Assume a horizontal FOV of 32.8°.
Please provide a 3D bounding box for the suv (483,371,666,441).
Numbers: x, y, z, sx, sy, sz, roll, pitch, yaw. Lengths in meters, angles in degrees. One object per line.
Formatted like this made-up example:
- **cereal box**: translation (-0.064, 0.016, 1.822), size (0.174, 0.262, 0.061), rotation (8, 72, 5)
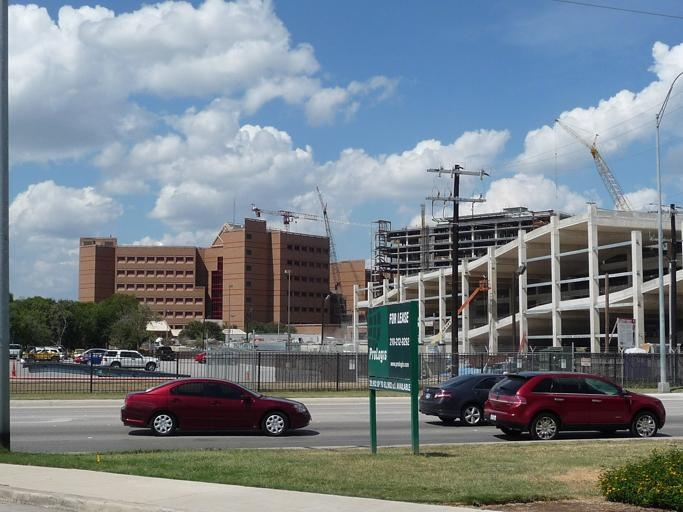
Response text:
- **suv**: translation (7.815, 5.093, 38.289), size (5.725, 2.253, 2.355), rotation (0, -4, -8)

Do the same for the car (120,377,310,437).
- **car**: translation (-4.485, 5.039, 40.545), size (5.755, 1.748, 2.433), rotation (-1, -5, -3)

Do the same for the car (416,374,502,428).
- **car**: translation (5.847, 5.500, 44.593), size (5.864, 1.879, 2.532), rotation (3, -4, -22)
